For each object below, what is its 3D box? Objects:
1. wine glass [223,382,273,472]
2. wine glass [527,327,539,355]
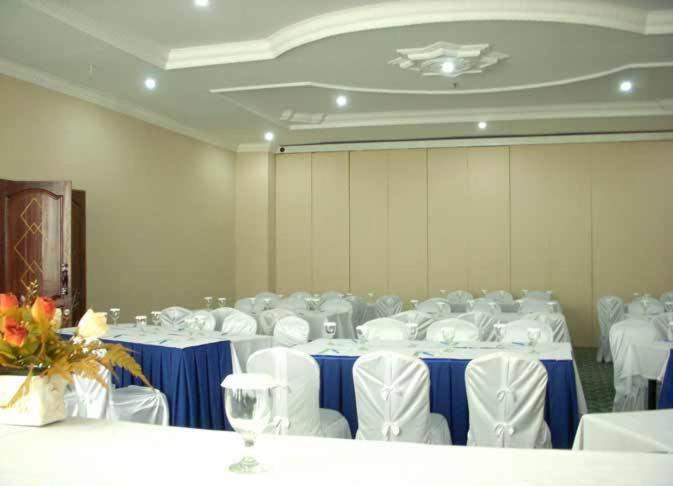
[{"bbox_3d":[-0.313,0.658,1.984,0.178,0.347,0.188,-1,-3,7],"label":"wine glass"},{"bbox_3d":[1.734,0.834,4.694,0.090,0.201,0.497,-1,-3,21],"label":"wine glass"}]
